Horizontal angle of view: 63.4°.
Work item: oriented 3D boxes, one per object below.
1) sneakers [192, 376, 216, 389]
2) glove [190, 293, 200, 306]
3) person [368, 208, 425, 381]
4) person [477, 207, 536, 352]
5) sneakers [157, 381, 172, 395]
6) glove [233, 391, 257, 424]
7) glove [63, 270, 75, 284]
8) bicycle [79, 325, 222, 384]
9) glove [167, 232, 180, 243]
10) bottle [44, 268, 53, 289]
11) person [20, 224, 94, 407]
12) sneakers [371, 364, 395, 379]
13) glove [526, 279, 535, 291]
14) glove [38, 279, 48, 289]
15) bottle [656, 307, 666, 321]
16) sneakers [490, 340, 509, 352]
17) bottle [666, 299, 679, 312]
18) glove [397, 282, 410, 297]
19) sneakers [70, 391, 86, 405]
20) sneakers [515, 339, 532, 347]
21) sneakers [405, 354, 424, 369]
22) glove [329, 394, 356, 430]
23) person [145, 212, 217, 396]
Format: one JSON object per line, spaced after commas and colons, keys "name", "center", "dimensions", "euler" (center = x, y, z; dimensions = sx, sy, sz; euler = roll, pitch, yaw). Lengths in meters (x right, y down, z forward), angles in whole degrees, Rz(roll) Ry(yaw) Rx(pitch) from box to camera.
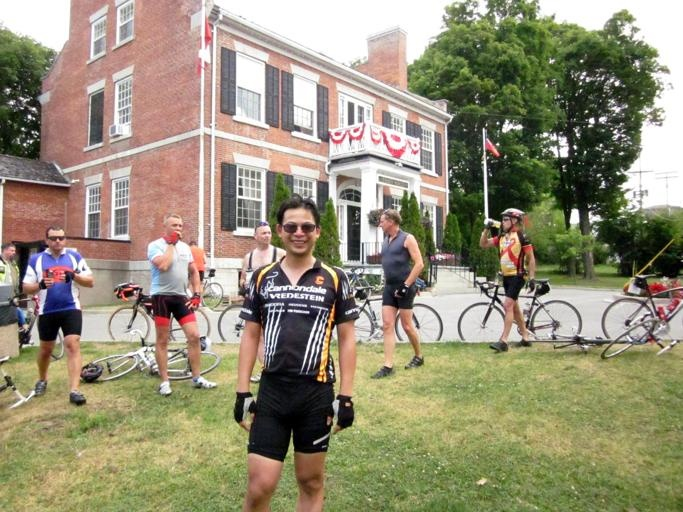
{"name": "sneakers", "center": [-2.051, 1.885, 8.342], "dimensions": [0.416, 0.191, 0.153], "euler": [1, 2, 18]}
{"name": "glove", "center": [-2.133, 0.637, 8.138], "dimensions": [0.147, 0.069, 0.150], "euler": [10, 24, -35]}
{"name": "person", "center": [0.962, 0.578, 8.950], "dimensions": [0.742, 2.630, 1.308], "euler": [1, 11, 8]}
{"name": "person", "center": [3.032, 0.486, 10.095], "dimensions": [0.946, 2.634, 1.546], "euler": [3, 11, 17]}
{"name": "sneakers", "center": [-2.551, 1.913, 8.011], "dimensions": [0.146, 0.170, 0.203], "euler": [-9, 14, -37]}
{"name": "glove", "center": [-0.829, 1.287, 4.721], "dimensions": [0.254, 0.271, 0.188], "euler": [6, -13, -21]}
{"name": "glove", "center": [-3.851, 0.288, 7.784], "dimensions": [0.101, 0.179, 0.152], "euler": [6, 13, 31]}
{"name": "bicycle", "center": [-3.100, 1.794, 9.061], "dimensions": [1.781, 0.951, 1.086], "euler": [4, 2, -3]}
{"name": "glove", "center": [-2.459, -0.258, 8.106], "dimensions": [0.130, 0.173, 0.171], "euler": [-7, -13, -37]}
{"name": "bottle", "center": [-4.072, 0.304, 7.683], "dimensions": [0.154, 0.229, 0.073], "euler": [0, -4, 32]}
{"name": "person", "center": [-4.010, 0.834, 7.928], "dimensions": [1.107, 2.434, 0.770], "euler": [7, 13, 34]}
{"name": "sneakers", "center": [0.659, 1.819, 8.630], "dimensions": [0.392, 0.165, 0.132], "euler": [4, -8, -41]}
{"name": "glove", "center": [3.271, 0.505, 9.507], "dimensions": [0.116, 0.201, 0.194], "euler": [0, -9, 4]}
{"name": "glove", "center": [-4.141, 0.387, 7.660], "dimensions": [0.099, 0.145, 0.051], "euler": [-4, -2, 9]}
{"name": "bottle", "center": [5.430, 0.987, 9.368], "dimensions": [0.107, 0.259, 0.108], "euler": [2, -32, 1]}
{"name": "sneakers", "center": [2.765, 1.567, 9.619], "dimensions": [0.379, 0.170, 0.144], "euler": [5, -10, 1]}
{"name": "bottle", "center": [5.785, 0.838, 9.562], "dimensions": [0.173, 0.163, 0.462], "euler": [7, 14, 36]}
{"name": "glove", "center": [0.980, 0.537, 8.732], "dimensions": [0.232, 0.260, 0.141], "euler": [-1, 11, -1]}
{"name": "sneakers", "center": [-3.624, 1.963, 7.655], "dimensions": [0.112, 0.162, 0.331], "euler": [-1, -1, -44]}
{"name": "sneakers", "center": [3.349, 1.583, 10.097], "dimensions": [0.308, 0.140, 0.117], "euler": [1, -1, 20]}
{"name": "sneakers", "center": [1.217, 1.737, 9.056], "dimensions": [0.125, 0.161, 0.370], "euler": [-5, -8, 40]}
{"name": "glove", "center": [0.012, 1.356, 4.765], "dimensions": [0.188, 0.346, 0.225], "euler": [-1, 11, -2]}
{"name": "person", "center": [-2.324, 0.681, 8.106], "dimensions": [0.911, 2.558, 0.668], "euler": [-1, -5, -23]}
